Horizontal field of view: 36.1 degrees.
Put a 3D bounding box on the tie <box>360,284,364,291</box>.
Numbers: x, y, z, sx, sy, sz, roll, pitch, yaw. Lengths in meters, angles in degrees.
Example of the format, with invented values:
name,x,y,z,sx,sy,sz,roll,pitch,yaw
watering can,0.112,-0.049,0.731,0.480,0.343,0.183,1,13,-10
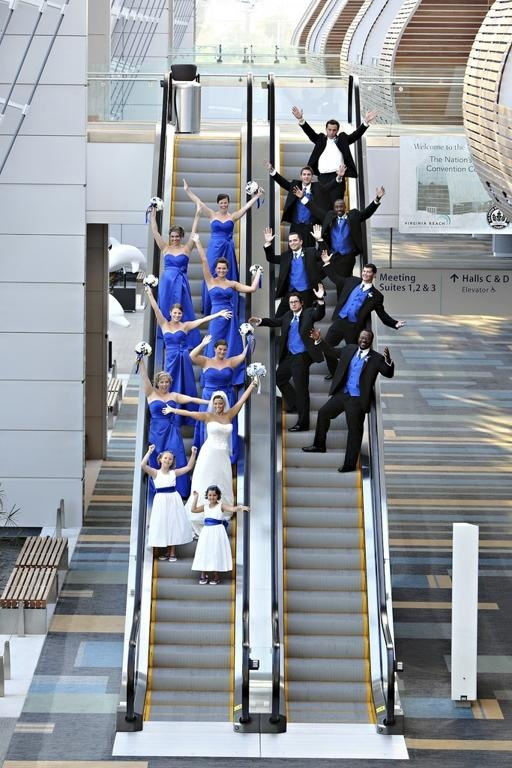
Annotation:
name,x,y,z,sx,sy,sz,roll,pitch,yaw
tie,0.995,-0.908,7.423,0.028,0.063,0.071,-1,6,-19

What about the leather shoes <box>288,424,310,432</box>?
name,x,y,z,sx,sy,sz,roll,pitch,yaw
leather shoes,0.408,0.438,7.611,0.146,0.065,0.081,1,-5,-3

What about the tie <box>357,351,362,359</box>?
name,x,y,z,sx,sy,sz,roll,pitch,yaw
tie,0.913,-0.249,6.970,0.047,0.069,0.021,1,1,13

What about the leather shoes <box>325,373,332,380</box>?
name,x,y,z,sx,sy,sz,roll,pitch,yaw
leather shoes,0.715,-0.052,7.999,0.070,0.075,0.189,0,6,-3

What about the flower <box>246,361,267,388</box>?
name,x,y,z,sx,sy,sz,roll,pitch,yaw
flower,-0.014,-0.078,7.056,0.232,0.307,0.059,2,10,11

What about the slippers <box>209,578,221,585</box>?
name,x,y,z,sx,sy,sz,roll,pitch,yaw
slippers,-0.350,1.678,6.680,0.124,0.052,0.062,-3,7,-35

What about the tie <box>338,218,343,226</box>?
name,x,y,z,sx,sy,sz,roll,pitch,yaw
tie,0.864,-1.667,8.134,0.051,0.076,0.018,-1,-2,29

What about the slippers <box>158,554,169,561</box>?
name,x,y,z,sx,sy,sz,roll,pitch,yaw
slippers,-0.816,1.513,6.862,0.093,0.038,0.108,0,6,-5

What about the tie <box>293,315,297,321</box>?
name,x,y,z,sx,sy,sz,roll,pitch,yaw
tie,0.360,-0.612,7.342,0.024,0.036,0.011,-8,-11,27

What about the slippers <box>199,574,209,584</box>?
name,x,y,z,sx,sy,sz,roll,pitch,yaw
slippers,-0.449,1.657,6.668,0.077,0.087,0.066,0,6,-5

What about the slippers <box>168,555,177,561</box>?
name,x,y,z,sx,sy,sz,roll,pitch,yaw
slippers,-0.732,1.525,6.830,0.080,0.052,0.057,-2,7,-28
